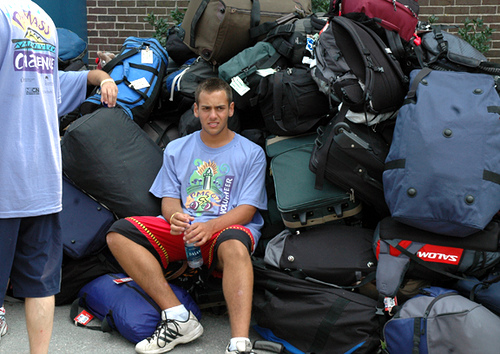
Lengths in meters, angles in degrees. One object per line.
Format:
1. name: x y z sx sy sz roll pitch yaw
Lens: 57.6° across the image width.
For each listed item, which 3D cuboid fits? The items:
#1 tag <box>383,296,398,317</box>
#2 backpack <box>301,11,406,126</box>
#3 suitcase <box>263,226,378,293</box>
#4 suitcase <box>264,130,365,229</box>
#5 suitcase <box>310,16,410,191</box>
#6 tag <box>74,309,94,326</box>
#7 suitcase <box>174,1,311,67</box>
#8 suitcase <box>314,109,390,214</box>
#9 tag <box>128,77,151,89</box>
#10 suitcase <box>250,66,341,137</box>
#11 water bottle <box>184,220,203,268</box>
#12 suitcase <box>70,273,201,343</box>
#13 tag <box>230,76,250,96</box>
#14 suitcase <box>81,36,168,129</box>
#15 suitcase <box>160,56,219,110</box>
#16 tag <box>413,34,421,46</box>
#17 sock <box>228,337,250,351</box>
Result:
1. tag: 0.887 0.817 2.886 0.088 0.133 0.036 0 -3 15
2. backpack: 0.737 -0.665 3.499 0.408 0.973 0.806 -36 -29 10
3. suitcase: 0.532 0.551 3.325 0.923 0.277 0.682 1 26 -8
4. suitcase: 0.519 -0.020 3.500 0.616 0.256 0.843 -12 42 19
5. suitcase: 0.855 -0.529 3.471 0.649 1.221 0.693 -10 23 -15
6. tag: -1.172 1.003 3.239 0.106 0.016 0.137 26 15 3
7. suitcase: -0.142 -1.236 3.925 0.862 0.338 0.535 -17 62 -32
8. suitcase: 0.774 -0.081 3.203 0.614 0.634 0.238 32 -20 -6
9. tag: -0.906 -0.773 3.768 0.113 0.088 0.028 -8 -22 -18
10. suitcase: 0.342 -0.555 3.582 0.544 0.610 0.475 -2 21 18
11. water bottle: -0.377 0.485 3.103 0.109 0.345 0.127 2 19 8
12. suitcase: -0.925 0.913 3.203 0.801 0.269 0.405 13 23 33
13. tag: -0.079 -0.697 3.538 0.109 0.159 0.036 -37 -6 7
14. suitcase: -0.955 -0.820 3.816 0.484 0.831 0.296 26 -19 -3
15. suitcase: -0.571 -0.799 3.949 0.474 0.210 0.461 -19 35 32
16. tag: 1.207 -0.981 3.287 0.041 0.073 0.021 -23 -21 -5
17. sock: -0.069 1.020 2.793 0.100 0.069 0.072 3 -11 -5
